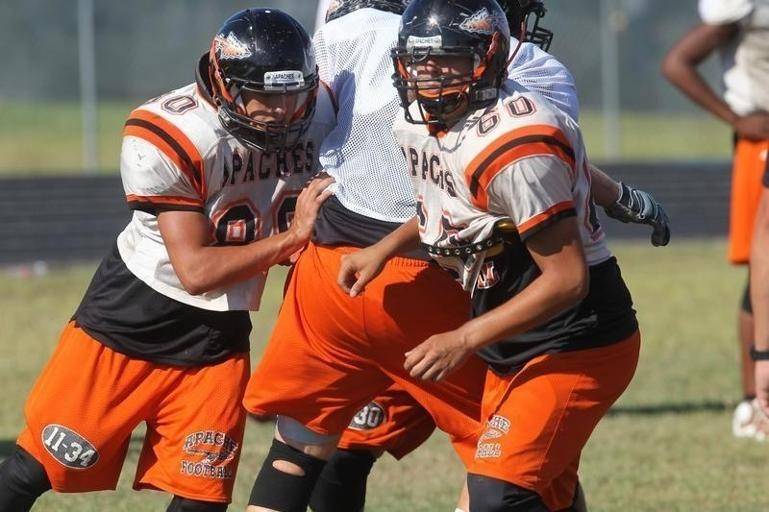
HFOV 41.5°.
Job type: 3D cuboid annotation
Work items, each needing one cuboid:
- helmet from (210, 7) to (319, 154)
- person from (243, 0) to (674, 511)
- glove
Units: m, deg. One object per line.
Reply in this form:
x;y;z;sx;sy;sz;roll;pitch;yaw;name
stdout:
-0.591;-0.838;4.710;0.499;0.543;0.635;-8;46;-20;helmet
0.136;0.039;4.790;1.503;2.452;0.927;0;14;6;person
1.251;-0.208;4.946;0.380;0.149;0.228;28;17;-22;glove
